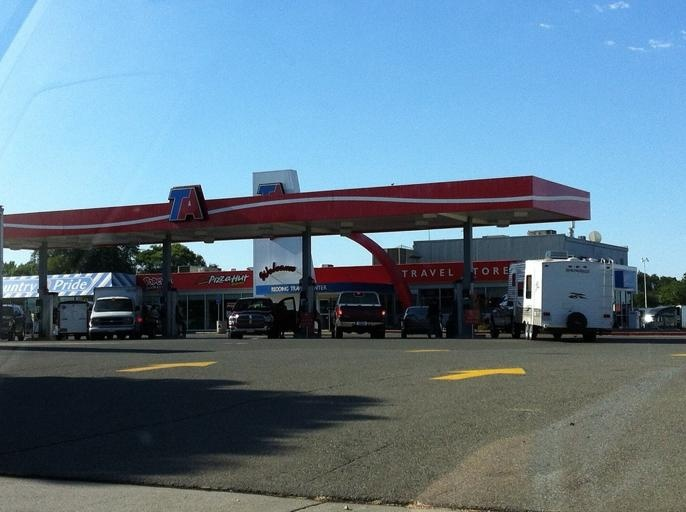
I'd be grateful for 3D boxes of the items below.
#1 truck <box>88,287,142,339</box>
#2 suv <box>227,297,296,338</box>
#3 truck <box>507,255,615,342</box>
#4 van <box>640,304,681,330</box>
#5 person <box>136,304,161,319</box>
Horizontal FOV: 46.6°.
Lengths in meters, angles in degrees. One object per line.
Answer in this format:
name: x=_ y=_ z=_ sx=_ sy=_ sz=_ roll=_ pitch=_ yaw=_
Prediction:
truck: x=-11.351 y=2.898 z=40.703 sx=1.738 sy=2.164 sz=3.647 roll=0 pitch=-7 yaw=-2
suv: x=-3.766 y=2.919 z=38.598 sx=1.762 sy=1.214 sz=2.836 roll=-2 pitch=-9 yaw=4
truck: x=8.190 y=1.607 z=30.244 sx=2.424 sy=2.848 sz=4.505 roll=0 pitch=0 yaw=-1
van: x=22.725 y=4.317 z=55.488 sx=3.405 sy=2.180 sz=1.978 roll=3 pitch=-3 yaw=7
person: x=-10.365 y=2.919 z=42.130 sx=1.431 sy=0.872 sz=0.833 roll=4 pitch=-2 yaw=-32
